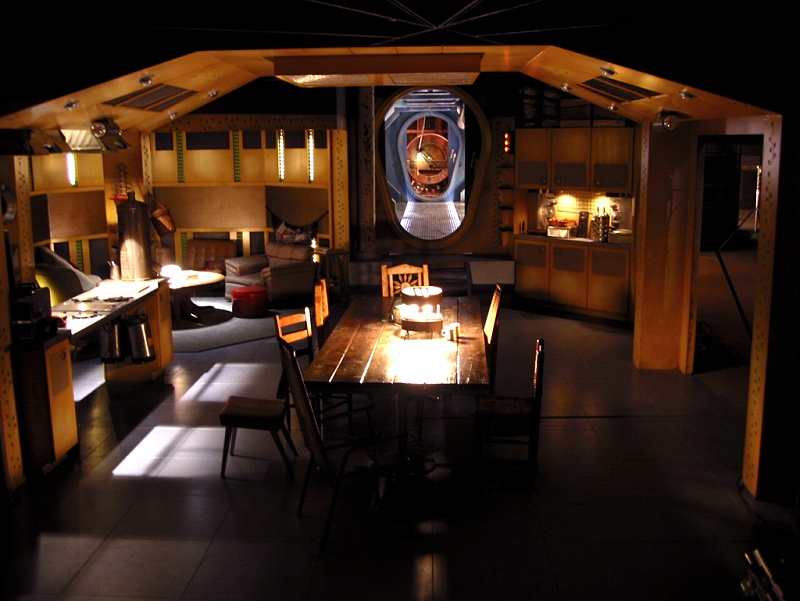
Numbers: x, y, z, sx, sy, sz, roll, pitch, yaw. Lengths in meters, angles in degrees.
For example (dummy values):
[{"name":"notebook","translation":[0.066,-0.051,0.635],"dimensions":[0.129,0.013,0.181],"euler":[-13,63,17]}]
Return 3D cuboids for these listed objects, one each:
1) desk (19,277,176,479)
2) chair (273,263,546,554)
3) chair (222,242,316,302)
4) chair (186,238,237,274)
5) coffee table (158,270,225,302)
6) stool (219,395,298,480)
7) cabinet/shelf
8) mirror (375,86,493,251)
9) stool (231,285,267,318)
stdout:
[{"name":"desk","translation":[-2.791,0.739,5.815],"dimensions":[0.439,0.717,1.561],"euler":[0,17,-2]},{"name":"chair","translation":[0.151,0.698,5.276],"dimensions":[1.953,1.400,2.541],"euler":[-1,12,1]},{"name":"chair","translation":[-2.188,-0.525,10.664],"dimensions":[1.047,0.992,1.388],"euler":[-7,11,-37]},{"name":"chair","translation":[-3.491,-0.818,11.721],"dimensions":[0.646,0.902,0.681],"euler":[-2,7,-10]},{"name":"coffee table","translation":[-2.944,-0.235,8.943],"dimensions":[0.716,0.259,0.733],"euler":[12,22,36]},{"name":"stool","translation":[-1.162,0.980,5.122],"dimensions":[0.727,0.698,0.603],"euler":[1,9,-1]},{"name":"cabinet/shelf","translation":[2.772,-1.250,9.832],"dimensions":[0.633,2.865,2.210],"euler":[-12,16,-42]},{"name":"mirror","translation":[0.644,-3.377,17.302],"dimensions":[2.898,4.200,1.380],"euler":[0,-6,5]},{"name":"stool","translation":[-2.364,-0.022,9.791],"dimensions":[0.482,0.361,0.473],"euler":[-6,13,-32]}]
